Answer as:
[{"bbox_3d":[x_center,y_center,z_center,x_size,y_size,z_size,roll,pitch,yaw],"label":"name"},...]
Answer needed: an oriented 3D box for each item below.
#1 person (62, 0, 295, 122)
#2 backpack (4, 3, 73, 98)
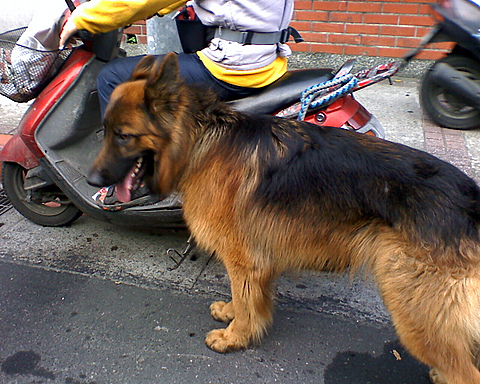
[{"bbox_3d":[-0.497,-0.948,3.128,1.612,0.948,0.861,7,44,9],"label":"person"},{"bbox_3d":[-1.459,-1.047,3.213,0.265,0.654,0.522,25,10,-33],"label":"backpack"}]
